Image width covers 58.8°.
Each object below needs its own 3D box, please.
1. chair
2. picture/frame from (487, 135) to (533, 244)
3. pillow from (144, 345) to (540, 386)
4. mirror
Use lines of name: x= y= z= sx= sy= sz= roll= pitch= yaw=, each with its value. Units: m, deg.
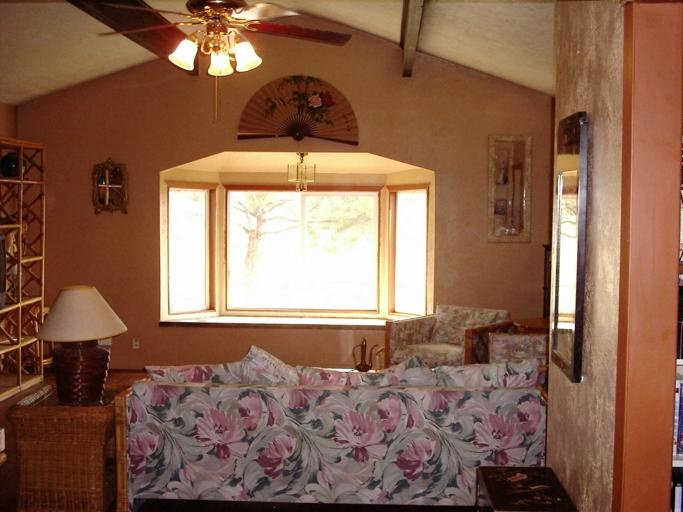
chair: x=1.094 y=0.794 z=6.049 sx=1.036 sy=0.759 sz=0.699 roll=-2 pitch=-6 yaw=37
picture/frame: x=1.821 y=-0.716 z=6.525 sx=0.426 sy=1.101 sz=0.088 roll=-1 pitch=2 yaw=14
pillow: x=0.022 y=0.667 z=3.626 sx=2.283 sy=0.264 sz=0.119 roll=-1 pitch=2 yaw=1
mirror: x=1.140 y=-0.038 z=3.018 sx=0.159 sy=1.292 sz=0.504 roll=-1 pitch=2 yaw=14
